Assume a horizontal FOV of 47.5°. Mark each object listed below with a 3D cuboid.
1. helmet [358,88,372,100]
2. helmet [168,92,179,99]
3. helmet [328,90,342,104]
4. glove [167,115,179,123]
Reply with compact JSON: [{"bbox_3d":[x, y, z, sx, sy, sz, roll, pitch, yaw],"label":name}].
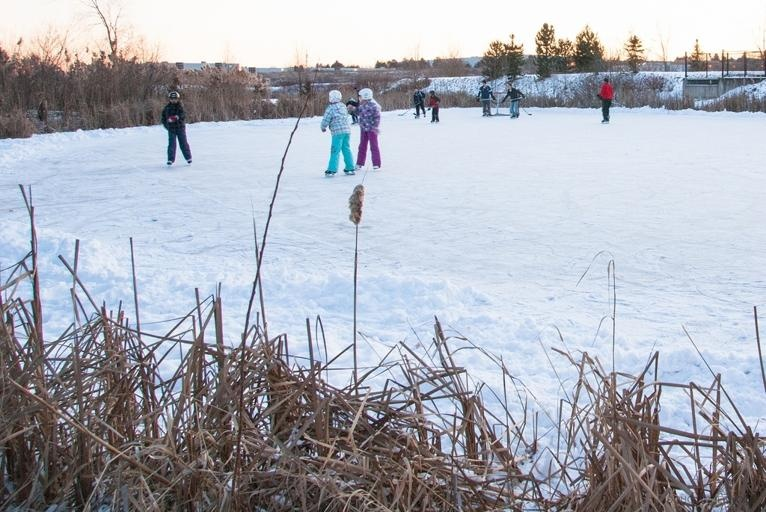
[{"bbox_3d":[-0.268,-2.660,14.307,0.215,0.180,0.169,-8,19,-40],"label":"helmet"},{"bbox_3d":[-3.575,-2.746,14.880,0.168,0.104,0.251,-2,17,-10],"label":"helmet"},{"bbox_3d":[-0.795,-2.634,14.423,0.138,0.197,0.399,0,13,8],"label":"helmet"},{"bbox_3d":[-3.712,-2.423,15.420,0.139,0.117,0.062,6,-23,-10],"label":"glove"}]
